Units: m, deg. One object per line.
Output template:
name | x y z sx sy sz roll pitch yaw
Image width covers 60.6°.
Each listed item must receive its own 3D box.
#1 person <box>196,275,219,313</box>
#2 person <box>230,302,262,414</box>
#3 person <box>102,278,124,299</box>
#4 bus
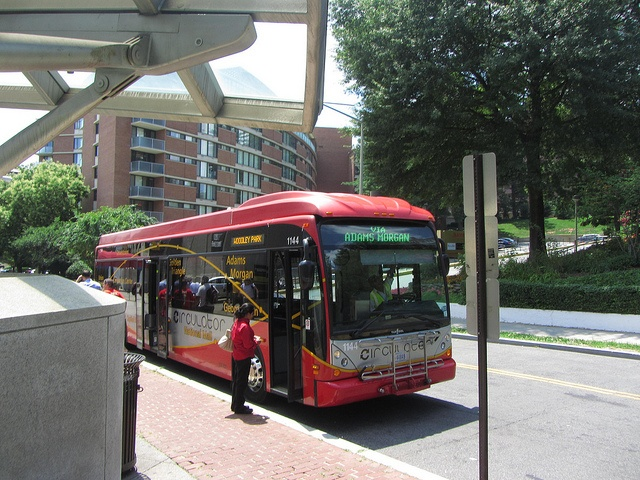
person | -2.345 1.136 11.355 0.715 0.734 0.461 -1 3 -42
person | -1.248 1.958 9.201 0.500 1.761 0.682 0 2 -10
person | -4.598 1.064 12.213 0.708 0.286 0.698 -2 9 -42
bus | -1.775 1.145 12.706 3.002 3.193 9.788 2 -5 -35
